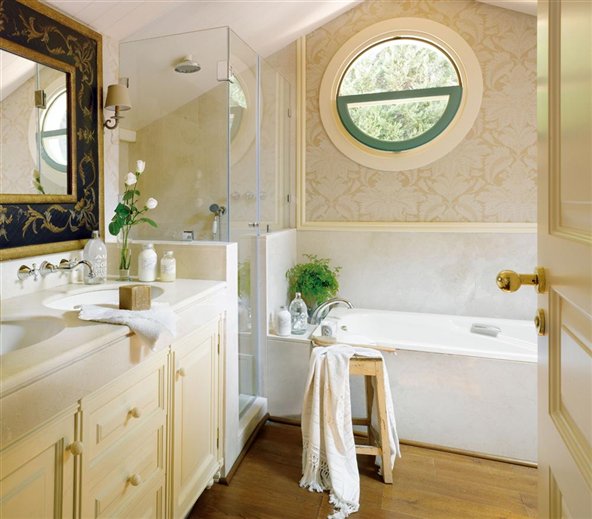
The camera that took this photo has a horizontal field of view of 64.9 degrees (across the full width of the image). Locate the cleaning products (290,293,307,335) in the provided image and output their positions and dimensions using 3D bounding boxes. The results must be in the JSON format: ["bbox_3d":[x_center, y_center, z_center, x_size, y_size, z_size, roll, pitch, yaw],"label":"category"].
[{"bbox_3d":[0.021,0.310,2.818,0.110,0.225,0.219,0,13,0],"label":"cleaning products"}]

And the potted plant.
[{"bbox_3d":[0.156,0.173,3.147,0.335,0.379,0.348,-3,-4,38],"label":"potted plant"}]

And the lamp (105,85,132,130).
[{"bbox_3d":[-0.822,-0.689,2.136,0.119,0.204,0.112,-3,6,-19],"label":"lamp"}]

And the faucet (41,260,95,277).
[{"bbox_3d":[-0.924,0.039,1.901,0.192,0.079,0.058,-2,0,8],"label":"faucet"}]

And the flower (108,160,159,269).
[{"bbox_3d":[-0.764,-0.192,2.179,0.235,0.526,0.203,1,4,-38],"label":"flower"}]

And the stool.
[{"bbox_3d":[0.375,0.708,2.263,0.214,0.568,0.385,3,13,12],"label":"stool"}]
